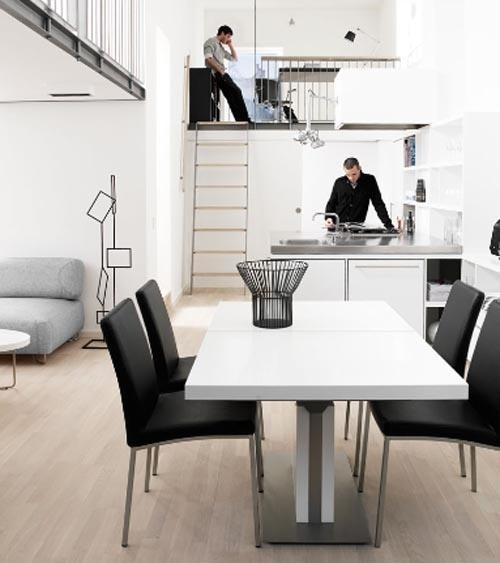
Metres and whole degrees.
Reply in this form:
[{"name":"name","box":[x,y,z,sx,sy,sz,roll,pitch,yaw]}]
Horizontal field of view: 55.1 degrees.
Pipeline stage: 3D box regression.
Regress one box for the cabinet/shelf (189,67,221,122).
[{"name":"cabinet/shelf","box":[-0.726,-2.923,7.438,0.204,0.790,0.736,-1,10,2]}]

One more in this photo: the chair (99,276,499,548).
[{"name":"chair","box":[0.072,0.463,1.761,1.135,0.882,1.125,0,3,1]}]

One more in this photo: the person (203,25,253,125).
[{"name":"person","box":[-0.333,-3.174,7.448,0.473,1.597,0.440,-8,0,9]}]

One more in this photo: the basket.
[{"name":"basket","box":[0.082,0.037,1.915,0.216,0.257,0.261,-1,4,-4]}]

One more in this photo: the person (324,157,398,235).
[{"name":"person","box":[1.293,-1.033,5.772,0.692,0.790,0.727,0,3,4]}]
